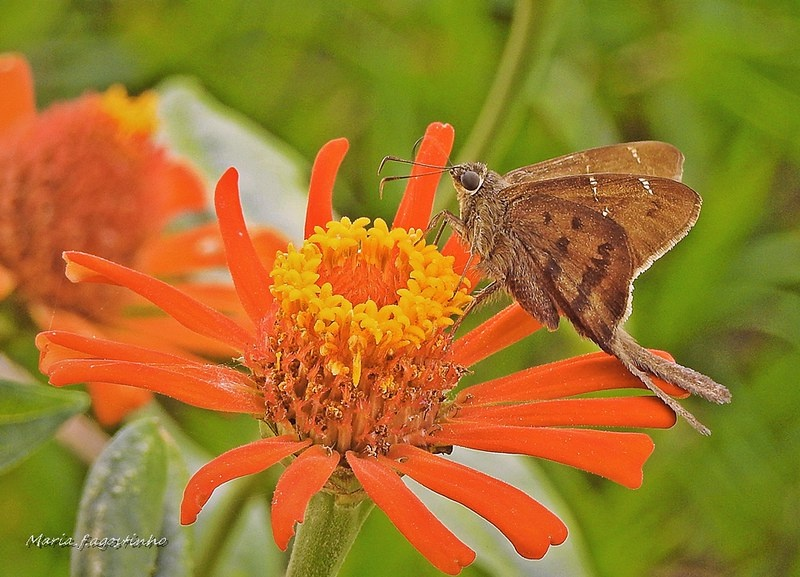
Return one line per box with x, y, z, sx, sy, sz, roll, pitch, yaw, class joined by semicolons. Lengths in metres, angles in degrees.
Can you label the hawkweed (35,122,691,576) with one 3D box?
-0.045;0.144;1.269;0.785;0.263;0.763;18;46;-14;hawkweed
